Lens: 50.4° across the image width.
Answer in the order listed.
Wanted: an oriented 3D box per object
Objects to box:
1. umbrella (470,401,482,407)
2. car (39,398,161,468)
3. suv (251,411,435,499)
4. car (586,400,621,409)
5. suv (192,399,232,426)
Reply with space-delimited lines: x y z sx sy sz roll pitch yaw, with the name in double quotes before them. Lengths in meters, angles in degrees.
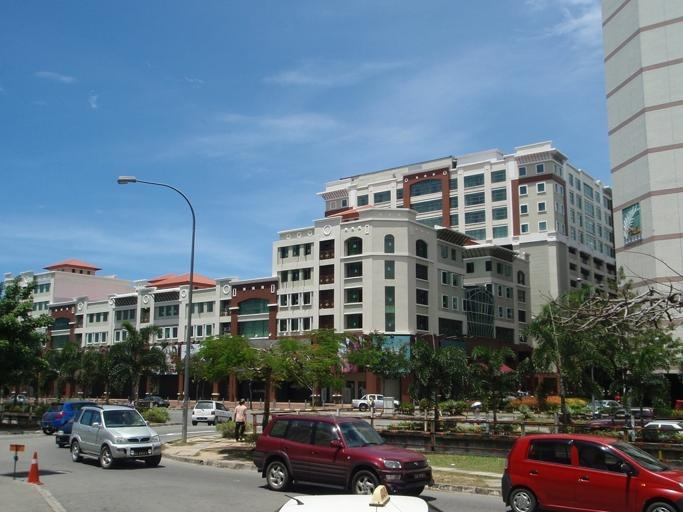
"umbrella" 12.763 13.961 68.497 1.167 0.364 1.057 -4 -4 -2
"car" -9.269 7.342 29.731 3.532 2.491 1.876 -7 -16 30
"suv" 0.156 6.830 24.886 5.643 2.407 2.674 -11 -17 32
"car" 23.367 13.208 64.235 2.407 0.769 1.278 2 -9 -14
"suv" -9.635 11.590 53.870 2.570 1.770 2.949 2 -13 -6
